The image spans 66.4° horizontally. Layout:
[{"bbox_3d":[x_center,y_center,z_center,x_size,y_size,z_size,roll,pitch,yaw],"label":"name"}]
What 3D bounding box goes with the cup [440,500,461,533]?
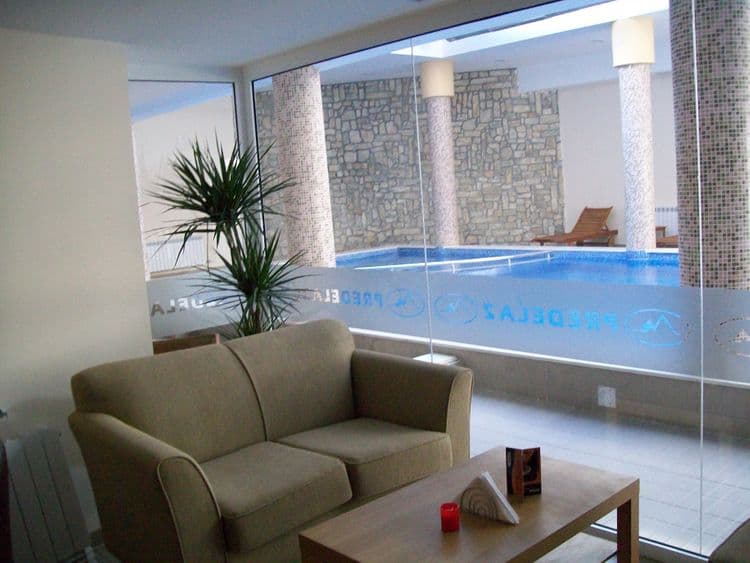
[{"bbox_3d":[0.323,1.046,2.547,0.083,0.100,0.091,-1,-7,0],"label":"cup"}]
